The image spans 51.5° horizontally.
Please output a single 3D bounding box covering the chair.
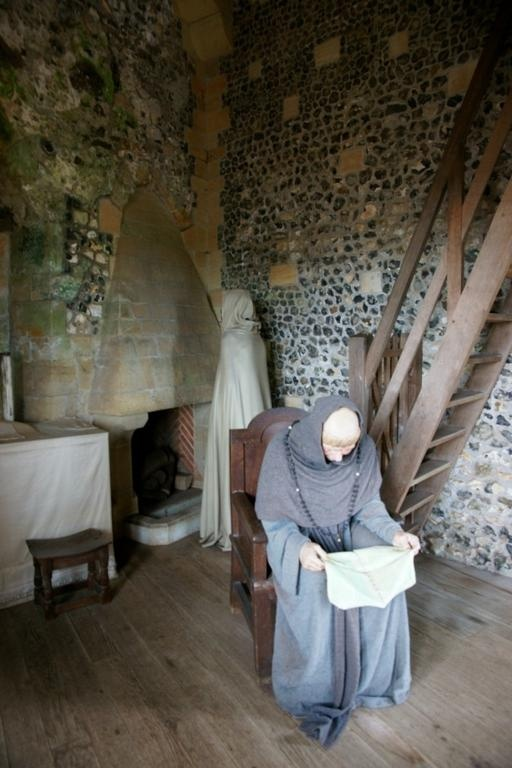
[{"bbox_3d":[0.170,0.638,2.247,0.629,0.938,0.608,-8,14,-34],"label":"chair"}]

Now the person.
[{"bbox_3d":[0.268,0.599,1.829,0.555,1.120,0.418,0,6,17],"label":"person"}]

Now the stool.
[{"bbox_3d":[-0.926,0.949,2.670,0.385,0.313,0.300,-3,4,-37],"label":"stool"}]
